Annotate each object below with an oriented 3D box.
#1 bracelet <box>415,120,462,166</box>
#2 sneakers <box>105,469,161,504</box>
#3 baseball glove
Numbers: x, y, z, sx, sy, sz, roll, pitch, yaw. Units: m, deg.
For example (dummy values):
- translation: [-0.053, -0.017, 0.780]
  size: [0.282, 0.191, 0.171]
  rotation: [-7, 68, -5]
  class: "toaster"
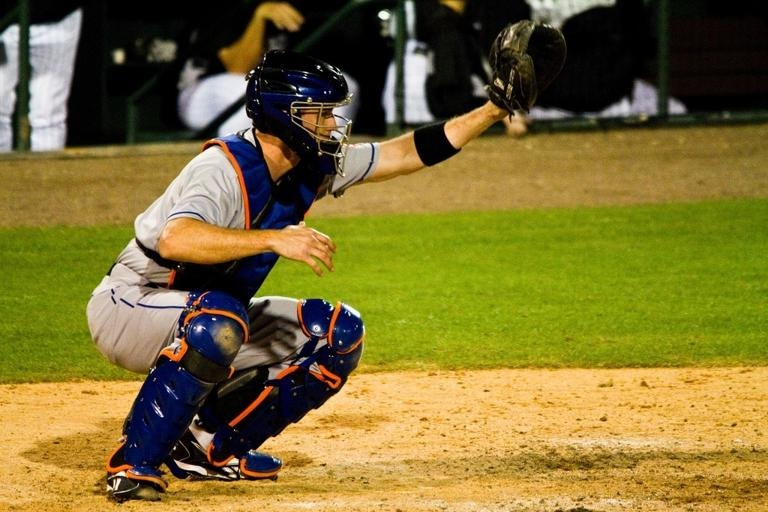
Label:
- translation: [0.334, -0.787, 11.151]
  size: [0.265, 0.326, 0.367]
  rotation: [-15, 33, -22]
  class: "bracelet"
- translation: [-1.641, 1.553, 10.632]
  size: [0.379, 0.221, 0.081]
  rotation: [2, 4, -6]
  class: "sneakers"
- translation: [0.983, -1.303, 11.219]
  size: [0.568, 0.689, 0.257]
  rotation: [26, -18, 7]
  class: "baseball glove"
